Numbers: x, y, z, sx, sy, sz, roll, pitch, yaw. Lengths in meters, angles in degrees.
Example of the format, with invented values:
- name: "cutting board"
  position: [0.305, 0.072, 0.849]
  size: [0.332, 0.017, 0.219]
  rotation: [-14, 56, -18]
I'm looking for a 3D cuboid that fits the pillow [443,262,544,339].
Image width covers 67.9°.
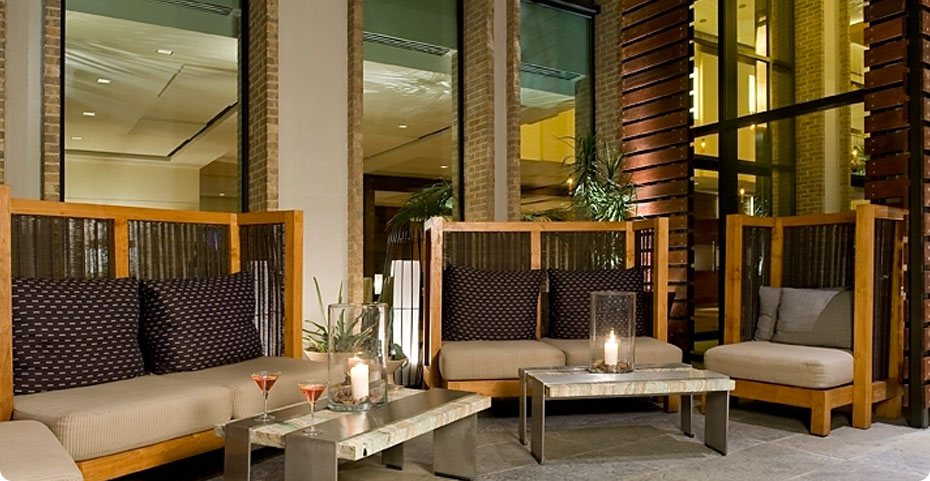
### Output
- name: "pillow"
  position: [0.276, 0.674, 7.589]
  size: [1.003, 0.584, 0.308]
  rotation: [3, -21, -4]

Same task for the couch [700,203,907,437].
- name: "couch"
  position: [3.644, 0.786, 7.242]
  size: [1.828, 2.512, 1.102]
  rotation: [-5, -1, 28]

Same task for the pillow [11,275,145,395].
- name: "pillow"
  position: [-3.428, 0.853, 6.038]
  size: [1.180, 0.917, 0.379]
  rotation: [1, -14, -29]

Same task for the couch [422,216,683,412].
- name: "couch"
  position: [0.888, 0.812, 7.339]
  size: [2.577, 1.511, 0.864]
  rotation: [1, -7, -9]

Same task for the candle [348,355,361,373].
- name: "candle"
  position: [-0.919, 1.023, 5.724]
  size: [0.159, 0.140, 0.141]
  rotation: [0, -4, -1]

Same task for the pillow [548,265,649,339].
- name: "pillow"
  position: [1.404, 0.662, 7.334]
  size: [1.011, 0.580, 0.314]
  rotation: [0, -2, 2]

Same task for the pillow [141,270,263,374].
- name: "pillow"
  position: [-2.525, 0.792, 6.523]
  size: [0.987, 0.678, 0.463]
  rotation: [-10, 15, -39]

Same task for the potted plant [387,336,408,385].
- name: "potted plant"
  position: [-0.771, 1.440, 8.123]
  size: [0.184, 0.490, 0.416]
  rotation: [-5, -1, 0]
